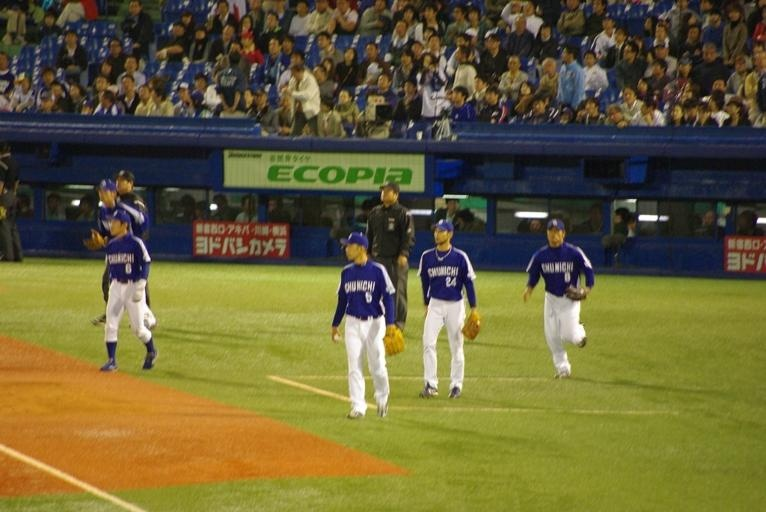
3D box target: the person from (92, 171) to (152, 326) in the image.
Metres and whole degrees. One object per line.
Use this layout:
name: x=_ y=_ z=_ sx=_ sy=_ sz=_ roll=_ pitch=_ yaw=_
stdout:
person: x=-6.102 y=-0.169 z=30.182 sx=1.033 sy=3.242 sz=1.060 roll=5 pitch=14 yaw=-12

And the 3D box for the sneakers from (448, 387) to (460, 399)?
sneakers: x=1.416 y=2.723 z=27.391 sx=0.150 sy=0.136 sz=0.249 roll=-1 pitch=26 yaw=17

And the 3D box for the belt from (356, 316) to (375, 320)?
belt: x=-0.341 y=1.191 z=26.458 sx=0.334 sy=0.075 sz=0.028 roll=-2 pitch=14 yaw=-7

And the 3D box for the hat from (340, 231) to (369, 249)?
hat: x=-0.558 y=-0.330 z=26.656 sx=0.442 sy=0.283 sz=0.325 roll=5 pitch=3 yaw=-1

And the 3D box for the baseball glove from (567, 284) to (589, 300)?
baseball glove: x=4.011 y=0.768 z=28.308 sx=0.445 sy=0.325 sz=0.399 roll=2 pitch=15 yaw=7

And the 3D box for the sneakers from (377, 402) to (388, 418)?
sneakers: x=-0.017 y=2.980 z=26.776 sx=0.215 sy=0.369 sz=0.269 roll=1 pitch=4 yaw=18

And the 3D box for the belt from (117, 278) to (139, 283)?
belt: x=-5.275 y=0.507 z=28.181 sx=0.359 sy=0.093 sz=0.038 roll=1 pitch=14 yaw=3

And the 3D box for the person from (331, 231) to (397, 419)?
person: x=-0.395 y=1.351 z=26.549 sx=1.096 sy=3.462 sz=0.942 roll=5 pitch=15 yaw=18

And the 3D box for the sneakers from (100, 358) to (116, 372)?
sneakers: x=-5.710 y=2.261 z=28.398 sx=0.338 sy=0.233 sz=0.187 roll=5 pitch=6 yaw=19

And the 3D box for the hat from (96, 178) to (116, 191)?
hat: x=-5.985 y=-1.540 z=29.687 sx=0.325 sy=0.247 sz=0.430 roll=-1 pitch=15 yaw=-2

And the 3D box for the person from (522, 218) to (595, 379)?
person: x=3.701 y=0.883 z=28.517 sx=1.256 sy=3.128 sz=1.030 roll=10 pitch=17 yaw=36

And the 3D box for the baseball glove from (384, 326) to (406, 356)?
baseball glove: x=0.176 y=1.637 z=26.715 sx=0.277 sy=0.566 sz=0.392 roll=-6 pitch=-4 yaw=44

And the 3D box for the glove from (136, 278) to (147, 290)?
glove: x=-4.983 y=0.568 z=28.109 sx=0.179 sy=0.191 sz=0.173 roll=-5 pitch=6 yaw=-11

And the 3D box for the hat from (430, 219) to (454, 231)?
hat: x=1.249 y=-0.618 z=27.432 sx=0.373 sy=0.215 sz=0.270 roll=8 pitch=0 yaw=-18
